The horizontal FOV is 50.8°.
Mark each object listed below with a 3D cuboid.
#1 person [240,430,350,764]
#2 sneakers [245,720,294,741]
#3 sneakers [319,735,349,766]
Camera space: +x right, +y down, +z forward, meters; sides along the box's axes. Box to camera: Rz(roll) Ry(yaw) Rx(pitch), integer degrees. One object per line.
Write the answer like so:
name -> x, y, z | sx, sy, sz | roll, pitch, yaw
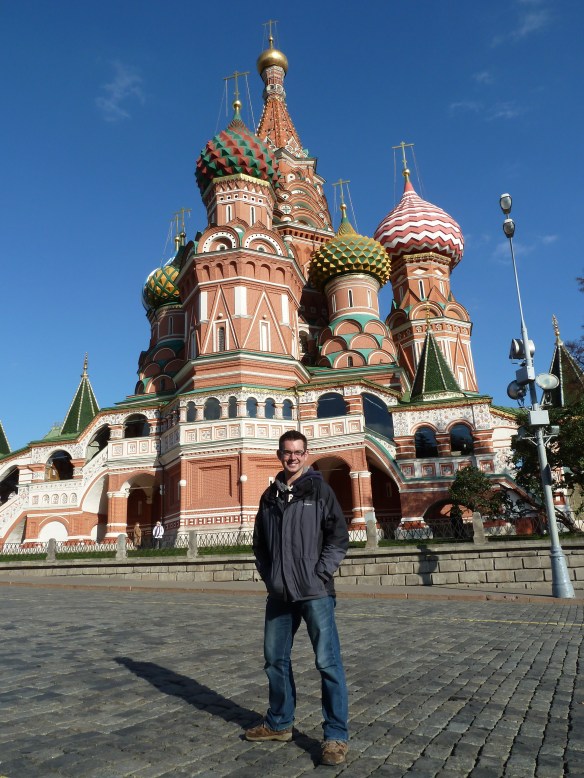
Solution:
person -> 0.045, 1.021, 3.308 | 0.692, 1.612, 0.458 | -16, -17, 42
sneakers -> -0.121, 1.763, 3.204 | 0.260, 0.107, 0.090 | 6, -29, -1
sneakers -> 0.196, 1.678, 2.869 | 0.112, 0.089, 0.190 | -5, -12, 7
